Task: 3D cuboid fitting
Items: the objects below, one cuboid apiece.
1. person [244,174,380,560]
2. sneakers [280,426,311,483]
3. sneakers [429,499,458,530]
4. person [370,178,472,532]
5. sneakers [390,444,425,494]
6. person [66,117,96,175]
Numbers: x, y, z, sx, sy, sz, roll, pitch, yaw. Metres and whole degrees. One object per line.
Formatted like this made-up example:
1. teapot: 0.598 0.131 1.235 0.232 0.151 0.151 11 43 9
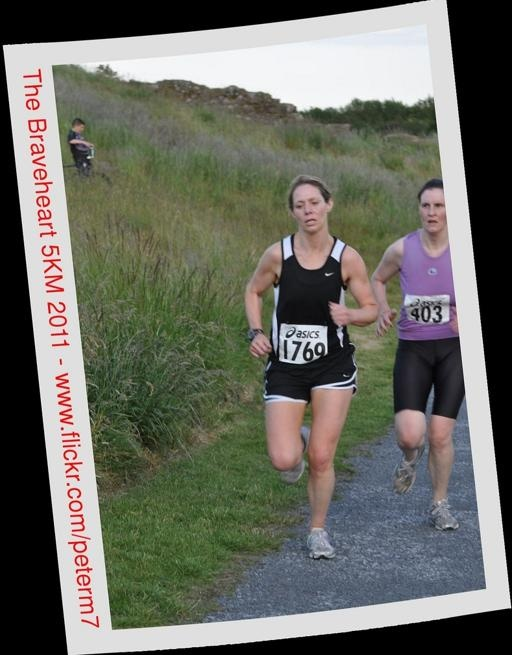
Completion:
1. person: 0.380 0.281 5.136 0.860 2.487 0.534 -3 9 4
2. sneakers: 0.302 0.936 5.555 0.161 0.538 0.218 11 15 10
3. sneakers: 1.331 1.307 5.571 0.100 0.124 0.253 -3 14 -11
4. person: 1.148 0.198 5.514 0.555 2.408 0.568 -2 9 9
5. sneakers: 1.074 1.004 5.685 0.140 0.464 0.185 20 11 22
6. person: -1.849 -1.910 8.339 0.281 0.579 1.061 -6 10 -11
